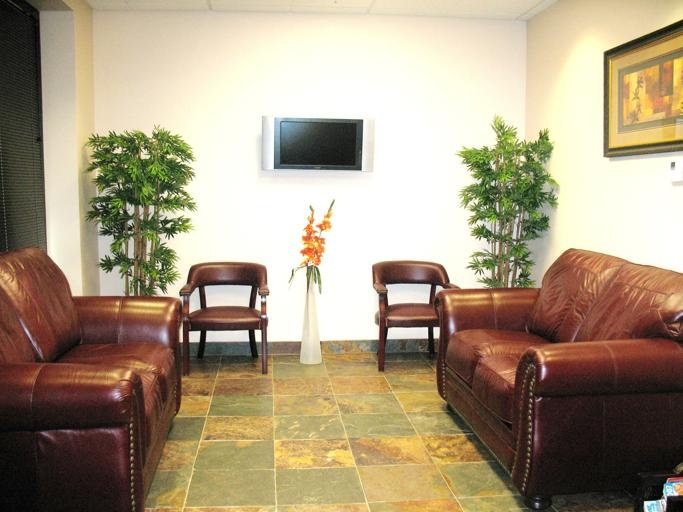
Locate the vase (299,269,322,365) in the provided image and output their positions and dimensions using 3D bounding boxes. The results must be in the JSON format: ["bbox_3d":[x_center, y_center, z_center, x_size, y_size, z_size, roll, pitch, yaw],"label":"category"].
[{"bbox_3d":[-0.309,0.617,5.064,0.208,0.854,0.194,0,12,-3],"label":"vase"}]

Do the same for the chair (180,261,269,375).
[{"bbox_3d":[-1.063,0.575,4.911,0.817,0.937,0.693,2,7,0],"label":"chair"}]

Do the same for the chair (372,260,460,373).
[{"bbox_3d":[0.661,0.552,5.034,0.746,0.894,0.648,0,9,12],"label":"chair"}]

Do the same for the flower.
[{"bbox_3d":[-0.322,-0.013,5.088,0.409,0.954,0.352,1,11,-24],"label":"flower"}]
